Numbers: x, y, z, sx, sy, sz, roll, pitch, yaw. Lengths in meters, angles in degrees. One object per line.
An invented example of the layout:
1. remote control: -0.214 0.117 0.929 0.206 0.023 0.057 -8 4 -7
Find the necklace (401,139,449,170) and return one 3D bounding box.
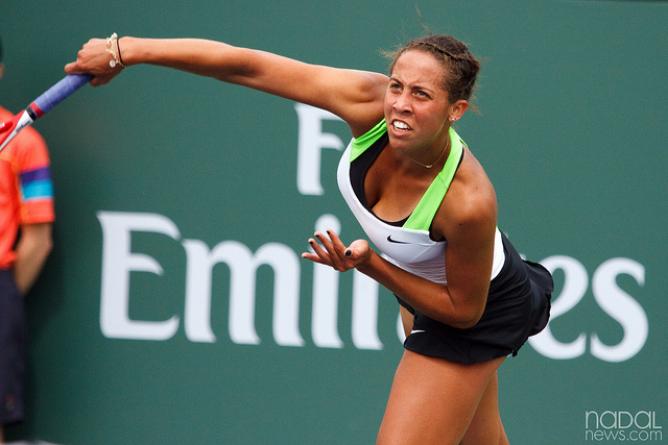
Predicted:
1. necklace: 0.489 -0.364 4.409 0.185 0.047 0.158 27 -24 -25

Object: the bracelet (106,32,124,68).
1. bracelet: -1.212 -0.970 4.663 0.065 0.169 0.122 -5 4 27
